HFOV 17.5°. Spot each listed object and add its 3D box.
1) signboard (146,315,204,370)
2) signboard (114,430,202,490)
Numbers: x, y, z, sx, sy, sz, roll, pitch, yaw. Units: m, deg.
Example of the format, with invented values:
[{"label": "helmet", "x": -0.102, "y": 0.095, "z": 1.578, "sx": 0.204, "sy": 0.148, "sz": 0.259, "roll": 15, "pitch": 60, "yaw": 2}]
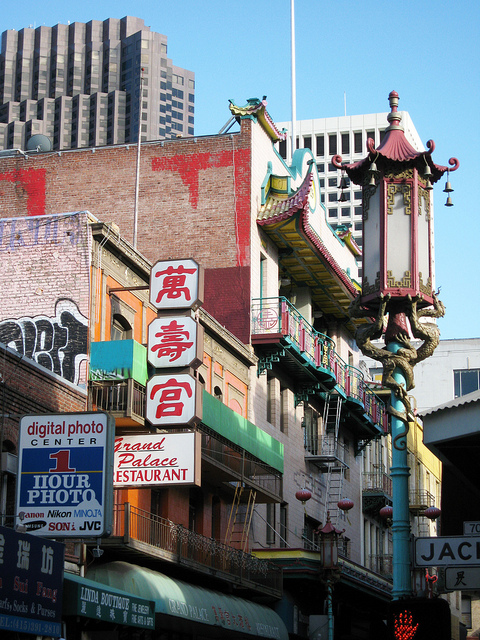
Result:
[{"label": "signboard", "x": -1.459, "y": 0.514, "z": 33.988, "sx": 1.119, "sy": 1.145, "sz": 0.404, "roll": -2, "pitch": -39, "yaw": 8}, {"label": "signboard", "x": -1.792, "y": 2.918, "z": 32.810, "sx": 1.915, "sy": 1.266, "sz": 0.470, "roll": -1, "pitch": -14, "yaw": 15}]
